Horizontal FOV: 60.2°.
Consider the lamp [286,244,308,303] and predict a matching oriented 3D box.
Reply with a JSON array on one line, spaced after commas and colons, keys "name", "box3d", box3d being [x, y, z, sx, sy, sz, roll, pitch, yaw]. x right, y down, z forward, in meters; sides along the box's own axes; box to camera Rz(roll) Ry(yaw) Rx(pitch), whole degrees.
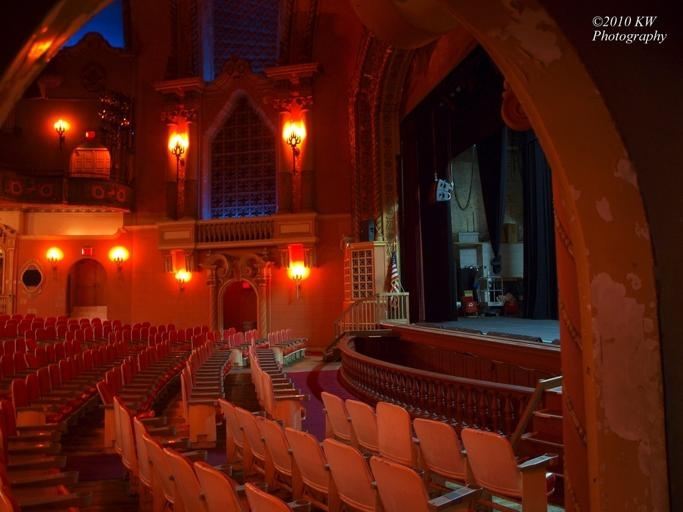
[{"name": "lamp", "box3d": [-1.251, 0.459, 16.892, 0.658, 1.592, 0.283, -3, -5, 2]}]

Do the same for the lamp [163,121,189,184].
[{"name": "lamp", "box3d": [-5.064, -3.264, 17.917, 0.692, 1.985, 0.554, -5, -5, 24]}]

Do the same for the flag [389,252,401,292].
[{"name": "flag", "box3d": [1.302, 0.376, 14.562, 0.317, 1.065, 0.646, -3, -5, 5]}]

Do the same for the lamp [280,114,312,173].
[{"name": "lamp", "box3d": [-1.464, -3.336, 16.806, 0.795, 1.779, 0.765, -5, -5, 21]}]
